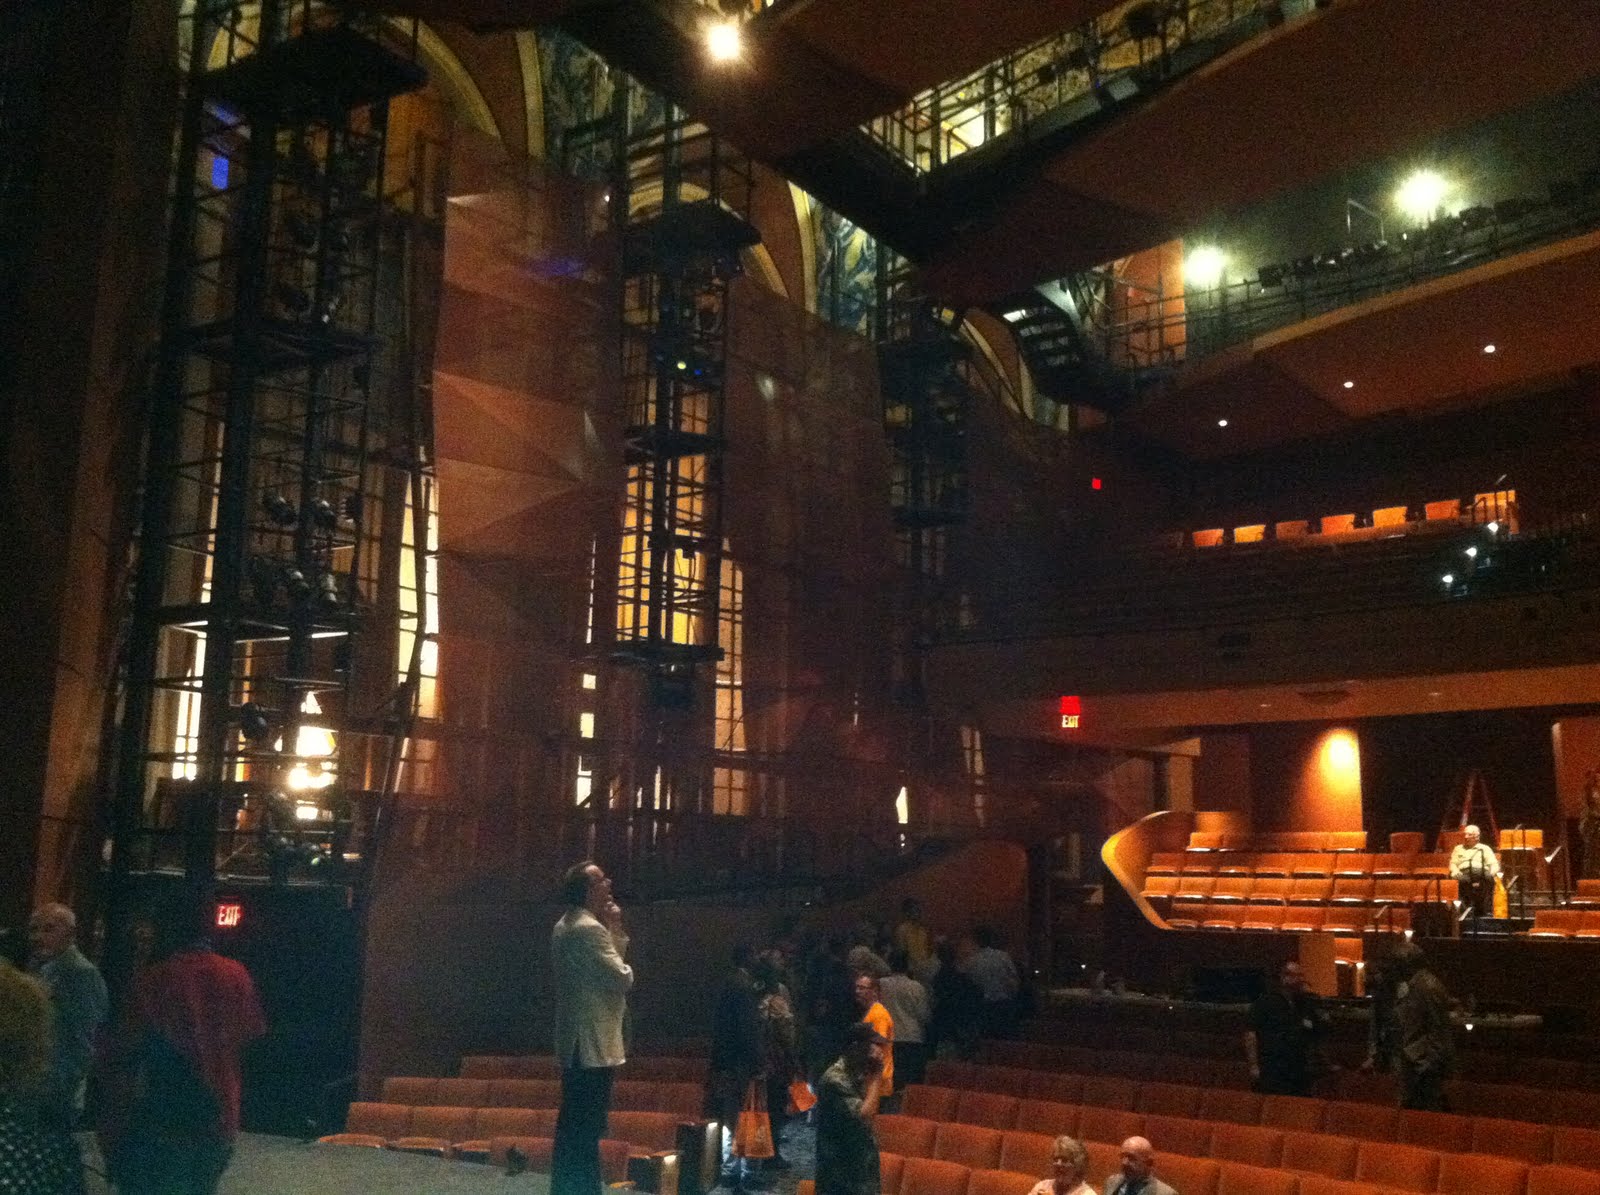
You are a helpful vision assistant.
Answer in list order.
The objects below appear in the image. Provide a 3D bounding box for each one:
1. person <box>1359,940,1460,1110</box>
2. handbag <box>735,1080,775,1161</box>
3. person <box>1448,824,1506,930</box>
[{"bbox_3d":[5.480,3.877,14.154,0.791,2.094,0.960,-3,-22,33],"label":"person"},{"bbox_3d":[-0.324,4.410,13.464,0.313,0.664,0.228,-3,2,22],"label":"handbag"},{"bbox_3d":[8.201,3.433,19.147,0.698,1.340,0.773,17,-19,-38],"label":"person"}]
